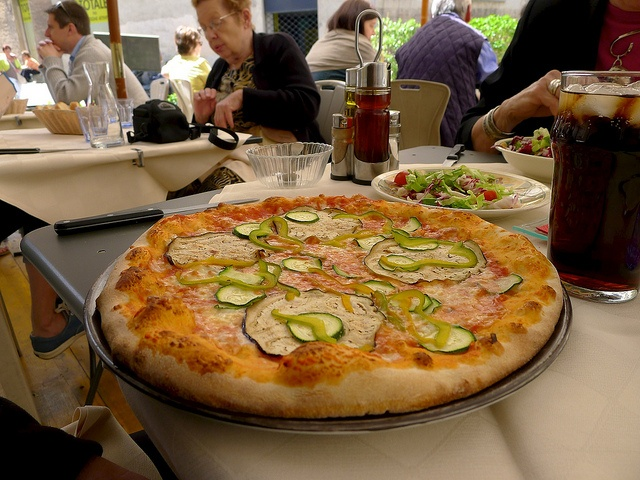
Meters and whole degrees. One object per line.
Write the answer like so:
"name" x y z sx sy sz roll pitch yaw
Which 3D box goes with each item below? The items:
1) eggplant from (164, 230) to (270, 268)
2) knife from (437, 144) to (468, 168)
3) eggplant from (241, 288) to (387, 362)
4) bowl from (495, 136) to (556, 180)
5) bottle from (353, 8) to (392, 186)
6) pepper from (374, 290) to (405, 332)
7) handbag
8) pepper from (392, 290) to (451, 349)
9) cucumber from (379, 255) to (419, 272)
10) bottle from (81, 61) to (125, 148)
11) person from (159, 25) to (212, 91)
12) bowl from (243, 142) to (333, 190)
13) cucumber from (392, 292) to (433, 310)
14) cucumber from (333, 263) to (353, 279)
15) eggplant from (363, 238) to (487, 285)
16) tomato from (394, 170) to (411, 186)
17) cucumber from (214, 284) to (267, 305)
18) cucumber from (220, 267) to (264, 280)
"eggplant" -0.244 -0.008 1.082 0.272 0.063 0.189 -11 16 -42
"knife" 0.497 -0.321 1.738 0.056 0.049 0.356 10 18 15
"eggplant" -0.013 0.142 0.817 0.127 0.023 0.124 12 23 22
"bowl" 0.678 -0.240 1.545 0.171 0.050 0.175 -2 26 1
"bottle" 0.169 -0.445 1.480 0.173 0.483 0.212 2 17 13
"pepper" 0.121 0.130 0.852 0.025 0.025 0.083 9 26 -28
"handbag" -0.761 -0.631 2.545 0.448 0.188 0.341 2 29 -10
"pepper" 0.173 0.133 0.827 0.119 0.071 0.096 1 12 -5
"cucumber" 0.171 0.050 1.001 0.044 0.015 0.047 -12 22 -41
"bottle" -1.141 -0.641 2.451 0.155 0.553 0.166 1 20 0
"person" -1.736 -2.248 6.272 0.646 1.176 0.574 10 29 10
"bowl" -0.093 -0.245 1.524 0.208 0.100 0.215 -1 15 0
"cucumber" 0.172 0.110 0.869 0.038 0.013 0.050 -8 11 21
"cucumber" 0.048 0.061 0.987 0.016 0.018 0.050 5 23 -44
"eggplant" 0.229 0.042 1.040 0.264 0.039 0.260 -3 22 13
"tomato" 0.248 -0.186 1.409 0.043 0.044 0.046 1 5 32
"cucumber" -0.157 0.107 0.894 0.052 0.011 0.046 -8 23 -33
"cucumber" -0.159 0.072 0.956 0.055 0.010 0.036 14 21 7
